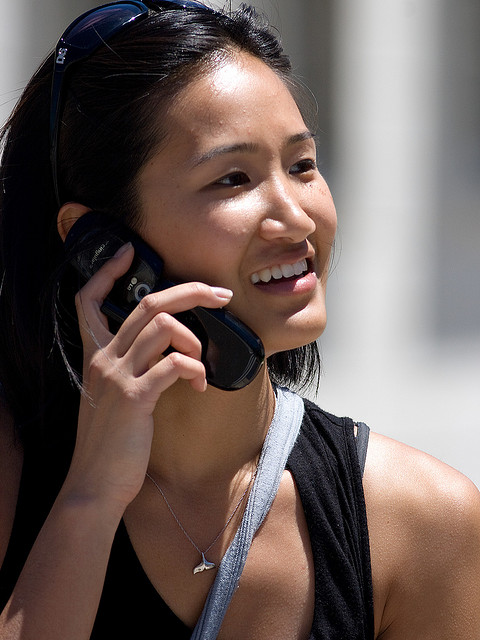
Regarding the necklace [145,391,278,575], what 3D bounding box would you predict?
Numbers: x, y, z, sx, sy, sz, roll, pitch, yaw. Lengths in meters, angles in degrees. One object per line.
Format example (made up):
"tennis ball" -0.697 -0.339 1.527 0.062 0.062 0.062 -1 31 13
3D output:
"necklace" -0.067 0.404 1.844 0.379 0.023 0.400 -12 70 5
